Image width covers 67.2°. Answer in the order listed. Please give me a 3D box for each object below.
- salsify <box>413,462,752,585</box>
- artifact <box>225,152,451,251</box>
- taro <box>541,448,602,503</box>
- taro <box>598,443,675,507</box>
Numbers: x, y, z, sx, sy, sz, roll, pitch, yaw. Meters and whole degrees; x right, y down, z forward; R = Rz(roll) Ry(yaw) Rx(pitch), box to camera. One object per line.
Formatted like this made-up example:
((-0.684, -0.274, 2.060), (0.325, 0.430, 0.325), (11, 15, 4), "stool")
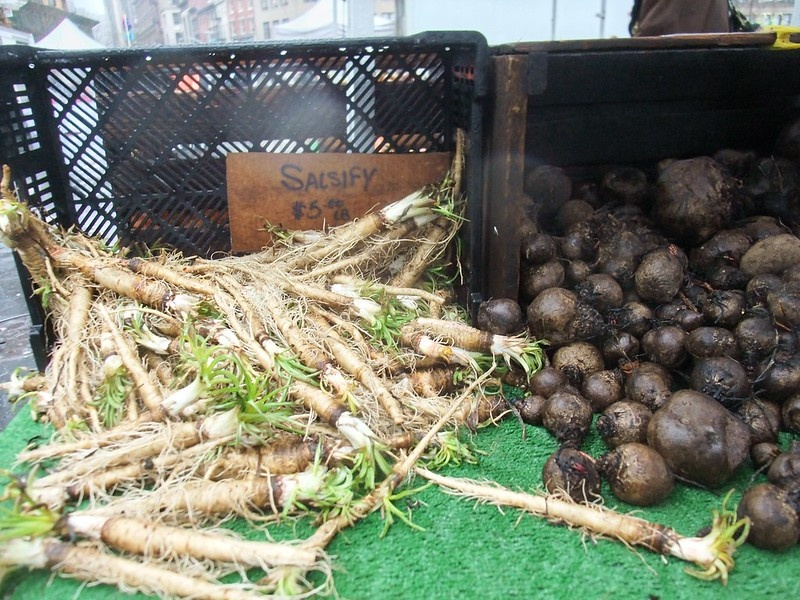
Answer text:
((0.783, 0.895, 2.520), (1.193, 0.213, 0.201), (8, 32, 19), "salsify")
((-0.497, -0.776, 3.956), (1.370, 0.443, 0.805), (-3, 24, -1), "artifact")
((0.749, 0.726, 2.687), (0.243, 0.198, 0.273), (6, 17, 23), "taro")
((0.968, 0.718, 2.659), (0.327, 0.239, 0.349), (0, 19, 7), "taro")
